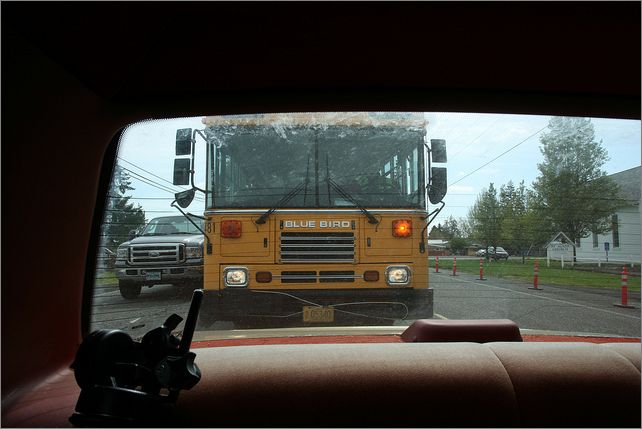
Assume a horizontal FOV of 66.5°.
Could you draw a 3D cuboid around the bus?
[{"bbox_3d":[-0.286,-0.040,6.798,2.697,2.124,4.280,0,3,-6],"label":"bus"}]
